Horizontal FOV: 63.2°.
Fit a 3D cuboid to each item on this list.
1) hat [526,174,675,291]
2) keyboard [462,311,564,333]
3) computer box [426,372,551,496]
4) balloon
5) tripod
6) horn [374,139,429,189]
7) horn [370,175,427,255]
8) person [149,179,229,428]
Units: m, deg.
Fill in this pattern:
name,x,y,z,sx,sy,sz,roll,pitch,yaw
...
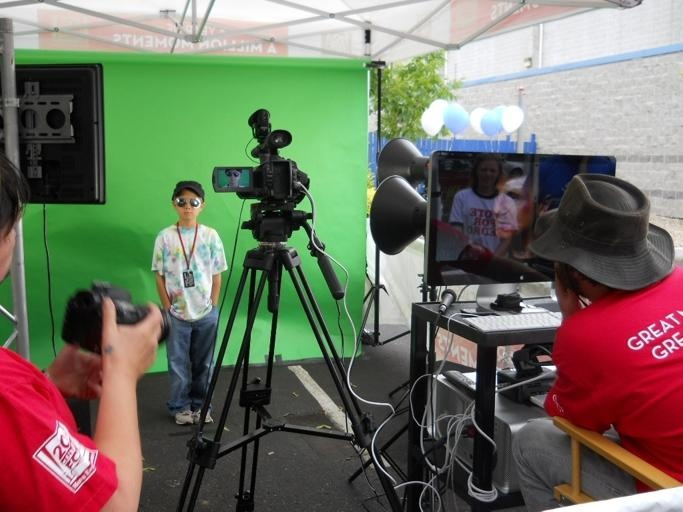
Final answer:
name,x,y,z,sx,sy,sz,roll,pitch,yaw
hat,0.910,-0.063,2.008,0.416,0.247,0.442,-5,26,-5
keyboard,0.762,0.257,2.429,0.330,0.048,0.440,-1,6,-30
computer box,0.693,0.732,2.535,0.372,0.324,0.644,-1,5,-16
balloon,1.999,-2.209,9.359,1.589,0.597,1.576,-4,9,-35
tripod,-0.326,0.551,2.716,0.930,1.555,0.963,2,10,-25
horn,0.423,-0.537,3.346,0.347,0.339,0.295,16,28,38
horn,0.296,-0.194,2.801,0.287,0.387,0.276,3,15,14
person,-1.100,0.320,4.097,0.717,2.175,0.639,-2,15,-29
